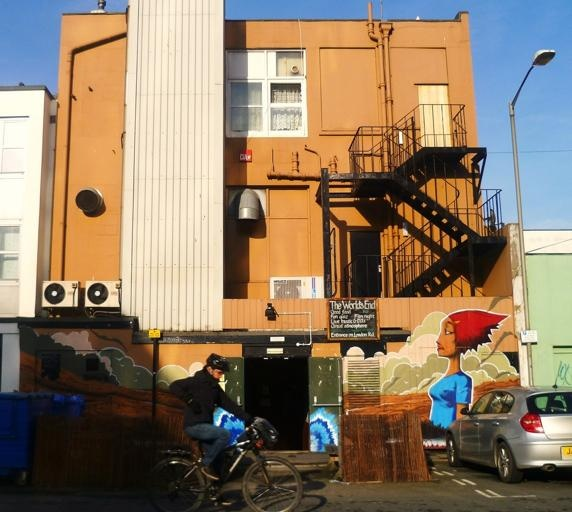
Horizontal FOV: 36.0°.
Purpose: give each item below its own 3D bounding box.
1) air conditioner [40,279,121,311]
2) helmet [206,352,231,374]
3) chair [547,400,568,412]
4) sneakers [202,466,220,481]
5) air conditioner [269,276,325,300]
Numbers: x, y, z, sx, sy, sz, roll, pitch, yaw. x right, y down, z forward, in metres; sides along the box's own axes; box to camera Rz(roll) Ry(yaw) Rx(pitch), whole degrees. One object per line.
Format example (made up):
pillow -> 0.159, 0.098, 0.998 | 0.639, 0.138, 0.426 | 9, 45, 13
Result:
air conditioner -> -5.032, 0.948, 22.001 | 2.019, 0.798, 0.748 | -6, -10, 22
helmet -> -1.061, 1.749, 14.454 | 0.373, 0.243, 0.274 | 21, -1, -9
chair -> 4.964, 2.722, 15.992 | 0.375, 0.233, 0.249 | -5, -9, 16
sneakers -> -1.173, 3.462, 14.071 | 0.268, 0.232, 0.083 | -4, -9, 15
air conditioner -> 0.334, 0.826, 23.917 | 1.434, 0.604, 0.205 | -2, -8, 1
